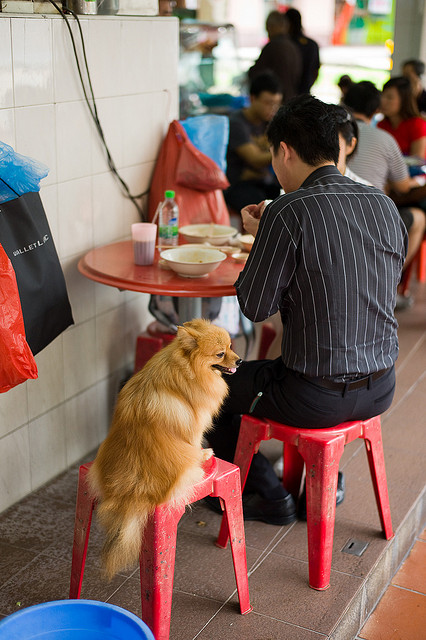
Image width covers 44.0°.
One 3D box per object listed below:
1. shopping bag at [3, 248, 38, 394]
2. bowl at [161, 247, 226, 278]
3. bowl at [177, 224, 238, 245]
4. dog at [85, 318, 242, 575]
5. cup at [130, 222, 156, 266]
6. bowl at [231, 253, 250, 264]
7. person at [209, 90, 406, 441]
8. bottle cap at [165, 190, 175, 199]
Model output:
[{"bbox_3d":[-0.567,-0.011,1.567,0.080,0.371,0.129,-7,23,-23],"label":"shopping bag"},{"bbox_3d":[-0.074,-0.242,2.121,0.172,0.050,0.163,0,21,0],"label":"bowl"},{"bbox_3d":[-0.033,-0.414,2.584,0.256,0.094,0.242,0,13,0],"label":"bowl"},{"bbox_3d":[-0.115,0.316,1.371,0.406,0.584,0.272,-6,14,-22],"label":"dog"},{"bbox_3d":[-0.298,-0.324,2.260,0.094,0.176,0.162,-3,13,-9],"label":"cup"},{"bbox_3d":[0.112,-0.264,2.271,0.115,0.030,0.114,-1,19,0],"label":"bowl"},{"bbox_3d":[0.339,-0.154,1.672,0.598,1.078,0.352,-2,13,-5],"label":"person"},{"bbox_3d":[-0.208,-0.596,2.485,0.052,0.035,0.051,2,17,3],"label":"bottle cap"}]
